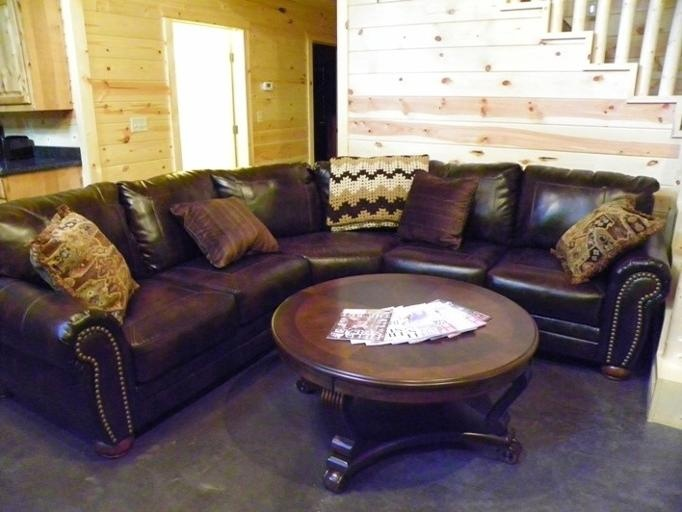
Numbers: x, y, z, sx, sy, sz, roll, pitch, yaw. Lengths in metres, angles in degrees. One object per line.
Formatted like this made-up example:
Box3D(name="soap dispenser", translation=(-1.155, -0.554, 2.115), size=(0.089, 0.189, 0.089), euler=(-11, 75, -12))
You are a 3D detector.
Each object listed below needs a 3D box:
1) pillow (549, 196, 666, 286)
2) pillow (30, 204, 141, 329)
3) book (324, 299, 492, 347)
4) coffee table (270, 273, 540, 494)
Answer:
Box3D(name="pillow", translation=(1.641, -0.108, 3.185), size=(0.490, 0.410, 0.508), euler=(1, 21, 7))
Box3D(name="pillow", translation=(-1.328, 0.056, 2.637), size=(0.435, 0.527, 0.697), euler=(-10, 22, -18))
Box3D(name="book", translation=(0.334, 0.329, 2.502), size=(0.431, 0.031, 0.311), euler=(-7, 16, -13))
Box3D(name="coffee table", translation=(0.324, 0.603, 2.762), size=(1.384, 0.603, 1.304), euler=(1, 17, 0))
